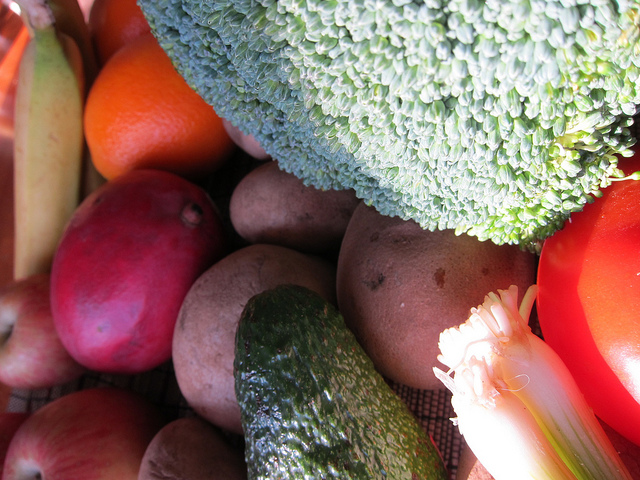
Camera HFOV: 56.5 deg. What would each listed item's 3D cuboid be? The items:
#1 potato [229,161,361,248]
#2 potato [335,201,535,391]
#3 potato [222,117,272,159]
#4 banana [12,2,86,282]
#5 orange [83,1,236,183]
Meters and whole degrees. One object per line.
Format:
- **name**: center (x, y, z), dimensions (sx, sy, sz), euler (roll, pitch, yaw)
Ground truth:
- **potato**: center (-0.037, -0.047, 0.770), dimensions (0.133, 0.096, 0.094), euler (2, 77, 10)
- **potato**: center (0.136, 0.052, 0.717), dimensions (0.180, 0.190, 0.254), euler (-1, 90, 10)
- **potato**: center (-0.100, -0.143, 0.799), dimensions (0.054, 0.074, 0.044), euler (37, 88, 6)
- **banana**: center (-0.366, -0.127, 0.889), dimensions (0.084, 0.149, 0.492), euler (4, 102, 0)
- **orange**: center (-0.209, -0.178, 0.877), dimensions (0.186, 0.152, 0.288), euler (-8, 97, 16)
